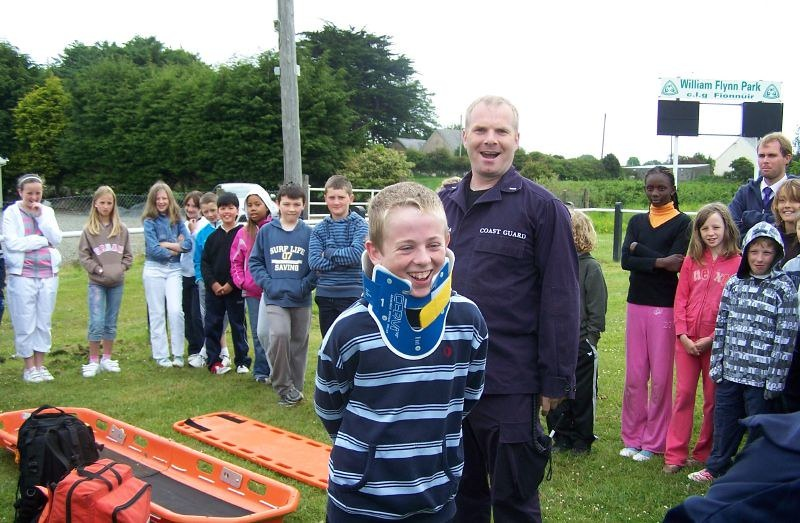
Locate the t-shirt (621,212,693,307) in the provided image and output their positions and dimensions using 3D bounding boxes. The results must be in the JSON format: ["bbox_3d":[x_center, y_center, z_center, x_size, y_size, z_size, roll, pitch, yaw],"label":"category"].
[{"bbox_3d":[2.787,-0.053,8.266,0.689,0.981,0.543,5,6,38],"label":"t-shirt"}]

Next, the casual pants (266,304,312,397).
[{"bbox_3d":[-1.371,1.126,9.416,0.525,1.206,0.351,-1,14,-7],"label":"casual pants"}]

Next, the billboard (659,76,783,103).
[{"bbox_3d":[10.818,-5.735,25.280,6.101,0.656,0.737,-8,16,-36],"label":"billboard"}]

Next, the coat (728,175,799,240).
[{"bbox_3d":[4.192,-0.663,8.942,0.642,0.784,0.352,2,-10,4],"label":"coat"}]

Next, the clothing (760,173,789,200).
[{"bbox_3d":[4.346,-0.865,8.770,0.312,0.247,0.340,-4,8,-31],"label":"clothing"}]

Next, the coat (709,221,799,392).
[{"bbox_3d":[3.511,0.666,7.481,0.714,1.221,0.468,7,15,28],"label":"coat"}]

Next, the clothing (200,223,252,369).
[{"bbox_3d":[-2.438,0.468,10.752,0.788,2.120,0.665,5,-18,-25],"label":"clothing"}]

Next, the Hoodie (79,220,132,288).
[{"bbox_3d":[-4.122,-0.083,10.649,0.689,0.840,0.523,-6,15,-24],"label":"Hoodie"}]

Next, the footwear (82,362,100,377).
[{"bbox_3d":[-4.279,1.512,10.515,0.169,0.122,0.316,-1,-6,-20],"label":"footwear"}]

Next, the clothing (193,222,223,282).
[{"bbox_3d":[-2.824,-0.166,10.945,0.574,0.745,0.324,6,-2,-35],"label":"clothing"}]

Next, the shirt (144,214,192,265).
[{"bbox_3d":[-3.377,-0.312,11.041,0.639,0.676,0.430,2,-5,-32],"label":"shirt"}]

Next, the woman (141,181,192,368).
[{"bbox_3d":[-3.372,0.211,11.104,0.747,2.765,0.700,-1,5,-7],"label":"woman"}]

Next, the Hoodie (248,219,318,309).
[{"bbox_3d":[-1.436,0.039,9.447,1.171,1.267,0.667,1,-8,-17],"label":"Hoodie"}]

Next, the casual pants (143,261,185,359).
[{"bbox_3d":[-3.429,0.691,11.115,0.616,1.375,0.516,-4,-11,-10],"label":"casual pants"}]

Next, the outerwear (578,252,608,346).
[{"bbox_3d":[2.076,0.444,8.173,0.311,1.024,0.442,3,14,12],"label":"outerwear"}]
